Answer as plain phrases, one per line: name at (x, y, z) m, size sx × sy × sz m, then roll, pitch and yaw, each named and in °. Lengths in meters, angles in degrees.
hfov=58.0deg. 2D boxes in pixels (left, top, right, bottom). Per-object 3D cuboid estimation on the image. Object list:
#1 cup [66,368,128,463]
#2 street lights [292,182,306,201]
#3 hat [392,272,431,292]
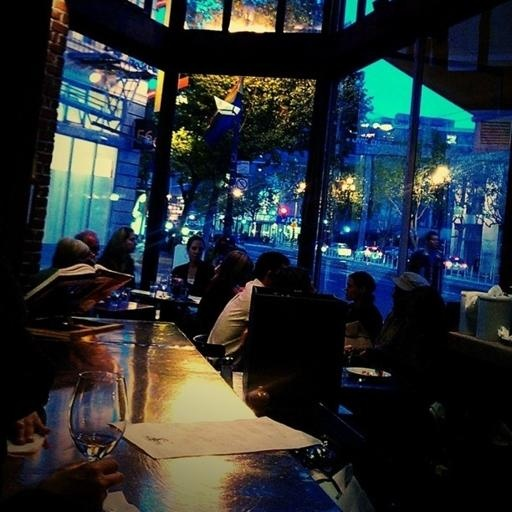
cup at (-0.300, 0.294, 0.868) m, size 0.096 × 0.138 × 0.074 m, roll 6°, pitch 1°, yaw -19°
street lights at (0.461, -0.691, 4.896) m, size 0.164 × 0.154 × 0.040 m, roll 27°, pitch 10°, yaw 37°
hat at (1.090, 0.180, 3.203) m, size 0.144 × 0.070 × 0.186 m, roll 4°, pitch -1°, yaw -17°
